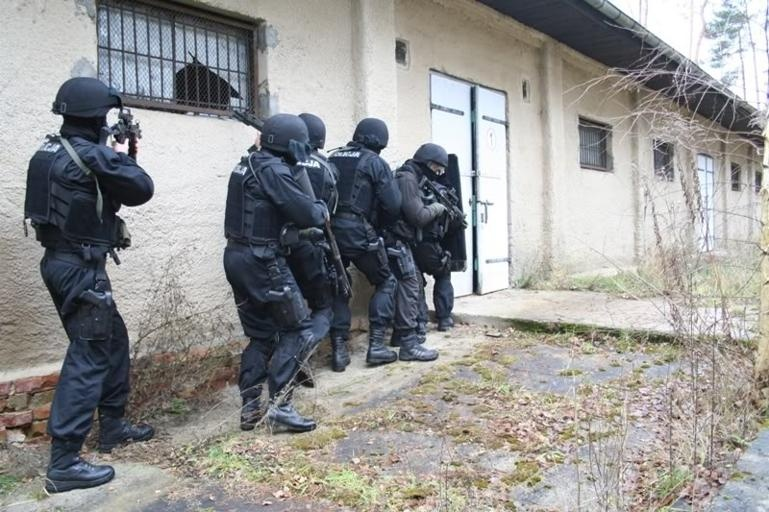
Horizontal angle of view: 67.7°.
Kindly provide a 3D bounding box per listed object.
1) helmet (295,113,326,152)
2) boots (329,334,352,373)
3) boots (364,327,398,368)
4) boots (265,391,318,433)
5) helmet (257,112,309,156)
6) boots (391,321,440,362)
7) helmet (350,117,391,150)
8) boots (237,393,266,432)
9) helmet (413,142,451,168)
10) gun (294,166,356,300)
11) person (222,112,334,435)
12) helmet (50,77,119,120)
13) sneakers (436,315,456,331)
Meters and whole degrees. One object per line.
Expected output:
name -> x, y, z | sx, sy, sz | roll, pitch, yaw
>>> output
helmet -> -0.725, -1.180, 5.573 | 0.241, 0.309, 0.313 | 4, 4, 20
boots -> -0.460, 0.963, 6.018 | 0.180, 0.406, 0.438 | -2, 7, 5
boots -> -0.016, 0.929, 5.985 | 0.385, 0.371, 0.167 | 8, -14, -39
boots -> -0.717, 1.296, 4.828 | 0.562, 0.401, 0.194 | 0, -3, -8
helmet -> -0.857, -1.047, 4.984 | 0.483, 0.360, 0.359 | -8, 27, -25
boots -> 0.262, 0.924, 6.041 | 0.588, 0.422, 0.227 | -1, 1, -3
helmet -> -0.143, -1.268, 6.009 | 0.399, 0.374, 0.321 | 5, 4, 14
boots -> -1.120, 1.287, 4.880 | 0.149, 0.278, 0.399 | -2, -5, 8
helmet -> 0.522, -1.108, 6.262 | 0.321, 0.197, 0.229 | 27, 25, 8
gun -> -0.567, -0.226, 5.225 | 0.304, 1.311, 0.116 | -15, 17, 16
person -> -0.892, 0.113, 4.744 | 0.853, 2.510, 0.832 | -7, 13, -14
helmet -> -2.281, -1.220, 4.366 | 0.500, 0.282, 0.393 | -9, 21, -38
sneakers -> 0.727, 0.800, 6.822 | 0.103, 0.189, 0.264 | 0, 9, 26
